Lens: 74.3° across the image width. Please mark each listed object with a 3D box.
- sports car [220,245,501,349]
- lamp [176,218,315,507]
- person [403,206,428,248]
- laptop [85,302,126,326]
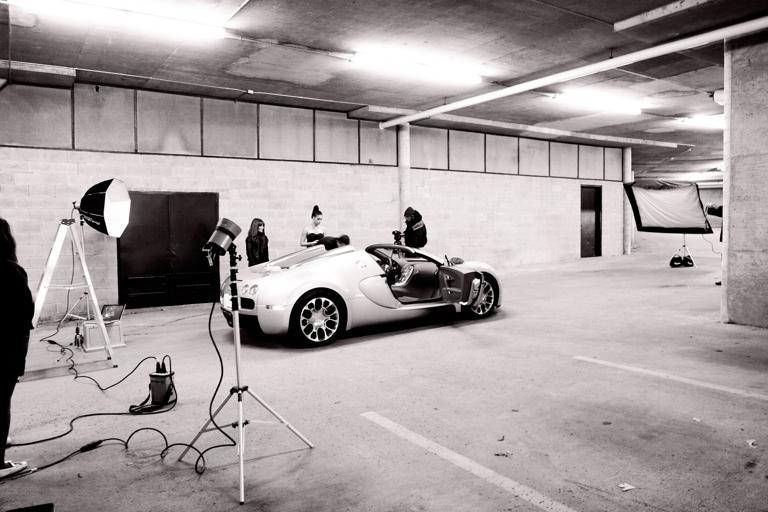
[{"bbox_3d":[-0.529,0.590,8.633,3.191,0.843,2.379,-5,6,-23],"label":"sports car"},{"bbox_3d":[-1.858,0.770,5.867,1.257,2.491,3.341,-6,11,-24],"label":"lamp"},{"bbox_3d":[0.723,-0.637,11.895,0.507,1.004,0.804,-1,11,2],"label":"person"},{"bbox_3d":[-4.586,0.982,8.621,0.466,0.262,0.384,-5,-9,27],"label":"laptop"}]
